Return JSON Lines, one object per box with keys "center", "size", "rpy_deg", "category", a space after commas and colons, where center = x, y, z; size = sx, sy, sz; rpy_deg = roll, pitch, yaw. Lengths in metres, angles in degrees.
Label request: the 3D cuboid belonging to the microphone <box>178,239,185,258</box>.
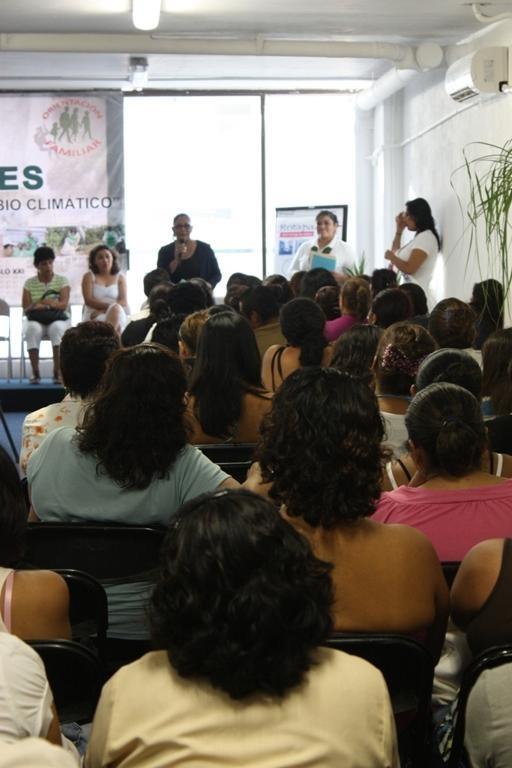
{"center": [-0.814, -1.482, 7.215], "size": [0.045, 0.176, 0.046], "rpy_deg": [2, 5, 24], "category": "microphone"}
